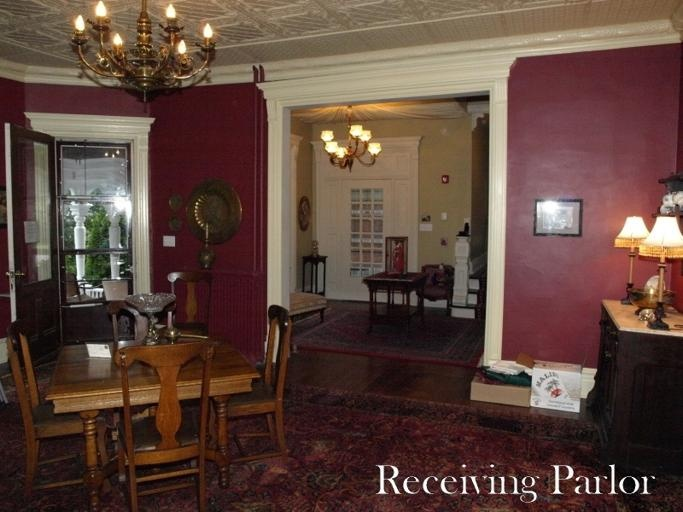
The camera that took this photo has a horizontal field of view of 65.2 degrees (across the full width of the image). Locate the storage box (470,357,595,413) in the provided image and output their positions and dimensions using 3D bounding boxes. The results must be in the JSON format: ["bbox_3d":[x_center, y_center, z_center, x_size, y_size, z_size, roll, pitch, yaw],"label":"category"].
[{"bbox_3d":[1.856,1.235,5.231,0.969,0.352,0.537,7,9,22],"label":"storage box"}]

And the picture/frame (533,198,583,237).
[{"bbox_3d":[2.201,-0.390,5.394,0.385,0.334,0.033,1,2,18],"label":"picture/frame"}]

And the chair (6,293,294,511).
[{"bbox_3d":[-1.311,1.049,3.951,1.953,1.235,1.209,-4,11,-28],"label":"chair"}]

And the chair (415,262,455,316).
[{"bbox_3d":[1.597,0.564,9.113,0.659,0.731,0.679,9,11,39],"label":"chair"}]

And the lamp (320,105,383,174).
[{"bbox_3d":[0.142,-1.932,8.711,0.888,1.117,0.925,-9,21,-18],"label":"lamp"}]

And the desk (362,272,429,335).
[{"bbox_3d":[0.836,0.658,8.013,0.821,0.570,0.925,3,-1,9],"label":"desk"}]

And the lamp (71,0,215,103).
[{"bbox_3d":[-1.815,-1.903,4.904,0.990,1.119,0.991,1,-4,-6],"label":"lamp"}]

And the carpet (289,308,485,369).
[{"bbox_3d":[0.733,1.025,7.907,2.701,0.307,2.811,4,10,17],"label":"carpet"}]
